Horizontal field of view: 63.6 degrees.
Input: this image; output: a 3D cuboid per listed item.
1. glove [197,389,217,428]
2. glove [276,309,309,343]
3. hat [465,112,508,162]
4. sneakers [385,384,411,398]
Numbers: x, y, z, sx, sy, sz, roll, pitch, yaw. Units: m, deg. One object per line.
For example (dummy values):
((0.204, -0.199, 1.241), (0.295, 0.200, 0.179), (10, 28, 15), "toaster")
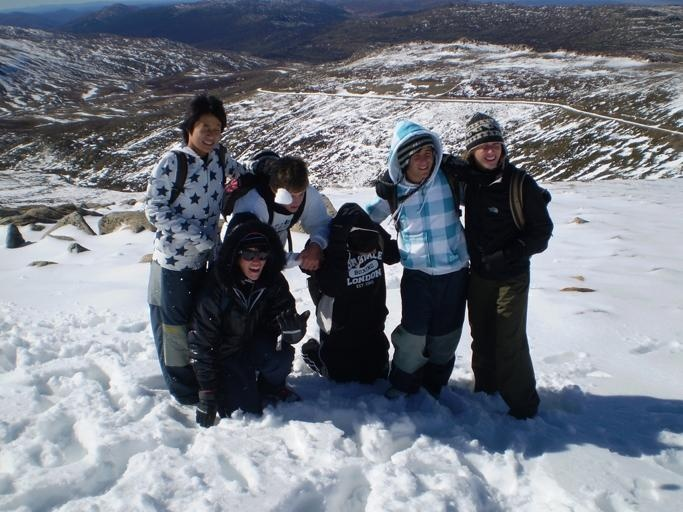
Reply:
((-1.333, 1.481, 5.417), (0.273, 0.307, 0.148), (4, 3, 16), "glove")
((-0.558, 0.722, 5.757), (0.381, 0.311, 0.318), (1, 2, -9), "glove")
((1.401, -1.190, 5.406), (0.377, 0.405, 0.391), (-4, 25, 3), "hat")
((0.582, 1.424, 5.802), (0.165, 0.044, 0.149), (7, 12, 9), "sneakers")
